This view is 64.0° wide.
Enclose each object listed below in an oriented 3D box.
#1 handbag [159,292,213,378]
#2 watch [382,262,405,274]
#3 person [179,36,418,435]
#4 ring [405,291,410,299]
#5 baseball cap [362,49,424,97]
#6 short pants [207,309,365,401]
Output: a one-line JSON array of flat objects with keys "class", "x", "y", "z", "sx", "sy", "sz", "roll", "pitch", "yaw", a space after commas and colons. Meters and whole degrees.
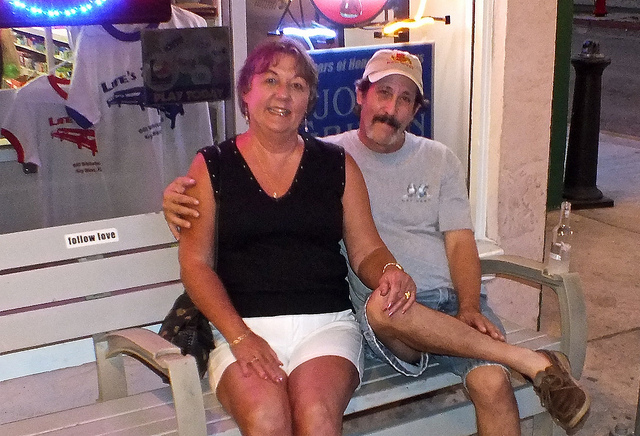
[{"class": "handbag", "x": -0.686, "y": 0.564, "z": 2.557, "sx": 0.174, "sy": 0.310, "sz": 0.407, "roll": -39, "pitch": -9, "yaw": -15}, {"class": "watch", "x": 0.353, "y": 0.243, "z": 2.509, "sx": 0.111, "sy": 0.042, "sz": 0.115, "roll": -4, "pitch": 14, "yaw": -4}, {"class": "person", "x": -0.208, "y": -0.013, "z": 2.358, "sx": 0.923, "sy": 1.648, "sz": 1.085, "roll": 2, "pitch": 17, "yaw": 20}, {"class": "ring", "x": 0.412, "y": 0.365, "z": 2.429, "sx": 0.036, "sy": 0.033, "sz": 0.011, "roll": -5, "pitch": -7, "yaw": 9}, {"class": "baseball cap", "x": 0.444, "y": -0.905, "z": 3.065, "sx": 0.348, "sy": 0.223, "sz": 0.441, "roll": 6, "pitch": 16, "yaw": -2}, {"class": "short pants", "x": -0.142, "y": 0.642, "z": 2.277, "sx": 0.564, "sy": 0.219, "sz": 0.583, "roll": -4, "pitch": 0, "yaw": -12}]
